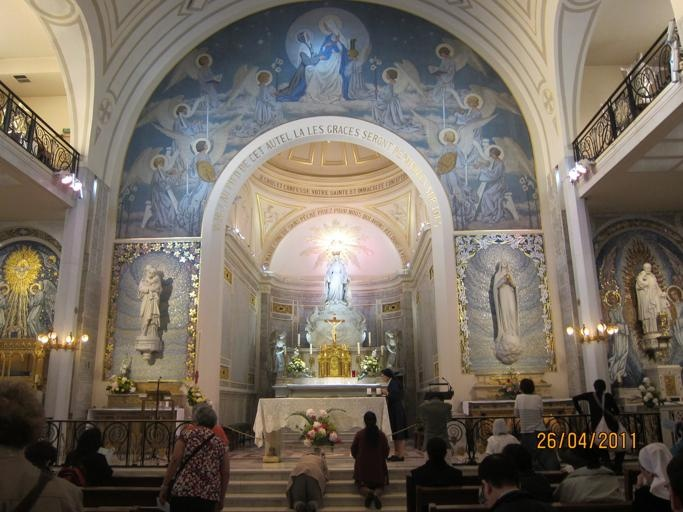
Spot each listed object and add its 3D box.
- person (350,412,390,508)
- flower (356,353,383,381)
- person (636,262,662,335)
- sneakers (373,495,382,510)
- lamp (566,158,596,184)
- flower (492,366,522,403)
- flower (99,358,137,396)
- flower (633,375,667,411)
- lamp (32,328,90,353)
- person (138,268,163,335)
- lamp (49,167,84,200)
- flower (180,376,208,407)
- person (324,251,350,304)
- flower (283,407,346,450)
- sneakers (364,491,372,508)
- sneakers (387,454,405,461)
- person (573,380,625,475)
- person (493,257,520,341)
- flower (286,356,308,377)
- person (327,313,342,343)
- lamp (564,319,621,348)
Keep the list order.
[{"bbox_3d":[0.460,3.323,8.882,0.484,1.473,0.468,-13,-20,35],"label":"person"},{"bbox_3d":[0.829,3.395,16.544,0.677,0.728,0.577,-3,-17,5],"label":"flower"},{"bbox_3d":[7.153,1.017,12.718,0.547,1.583,0.436,-11,-19,30],"label":"person"},{"bbox_3d":[0.548,3.890,8.625,0.090,0.293,0.111,-10,0,19],"label":"sneakers"},{"bbox_3d":[5.377,-1.908,12.230,0.386,0.140,0.391,-43,3,4],"label":"lamp"},{"bbox_3d":[3.968,3.085,12.939,0.605,0.704,0.623,10,-29,-7],"label":"flower"},{"bbox_3d":[-5.344,2.939,13.241,0.690,0.832,0.499,3,-17,-12],"label":"flower"},{"bbox_3d":[6.710,2.982,11.868,0.553,0.979,0.596,-11,-11,31],"label":"flower"},{"bbox_3d":[-6.409,1.978,12.594,1.031,0.446,0.568,9,-20,-30],"label":"lamp"},{"bbox_3d":[-4.809,1.160,13.680,0.562,1.729,0.267,5,-17,-20],"label":"person"},{"bbox_3d":[-6.426,-1.709,12.851,0.135,0.503,0.492,-7,-40,13],"label":"lamp"},{"bbox_3d":[-3.427,3.144,12.538,0.561,0.633,1.266,4,-18,-16],"label":"flower"},{"bbox_3d":[-0.160,0.728,18.776,0.830,1.813,0.698,-1,-16,0],"label":"person"},{"bbox_3d":[-0.440,3.432,10.161,1.055,0.804,0.902,2,-18,-8],"label":"flower"},{"bbox_3d":[0.424,3.853,8.658,0.108,0.278,0.110,6,-6,-8],"label":"sneakers"},{"bbox_3d":[1.096,4.096,11.063,0.324,0.144,0.125,4,-15,0],"label":"sneakers"},{"bbox_3d":[4.391,2.827,9.294,0.706,1.714,0.511,-9,11,15],"label":"person"},{"bbox_3d":[4.084,1.118,13.616,0.613,1.900,0.302,-5,-17,12],"label":"person"},{"bbox_3d":[-1.394,3.322,16.541,0.618,0.676,0.639,-19,-26,30],"label":"flower"},{"bbox_3d":[-0.232,2.528,18.512,0.489,1.032,0.745,-9,-19,25],"label":"person"},{"bbox_3d":[5.554,1.705,12.218,0.698,0.382,0.737,2,-15,-2],"label":"lamp"}]
